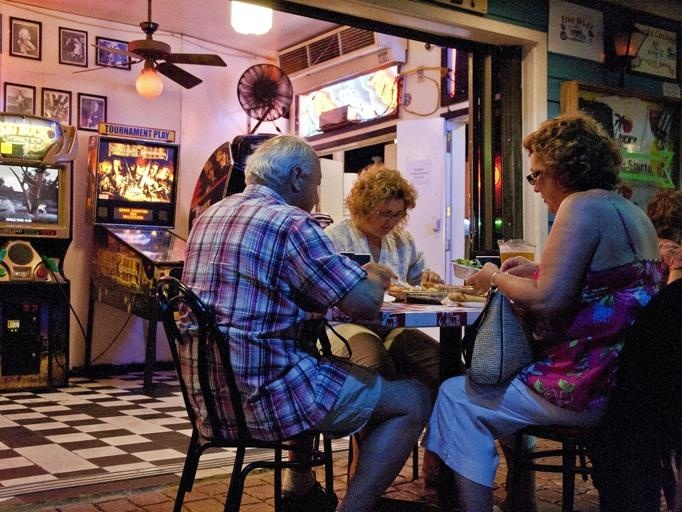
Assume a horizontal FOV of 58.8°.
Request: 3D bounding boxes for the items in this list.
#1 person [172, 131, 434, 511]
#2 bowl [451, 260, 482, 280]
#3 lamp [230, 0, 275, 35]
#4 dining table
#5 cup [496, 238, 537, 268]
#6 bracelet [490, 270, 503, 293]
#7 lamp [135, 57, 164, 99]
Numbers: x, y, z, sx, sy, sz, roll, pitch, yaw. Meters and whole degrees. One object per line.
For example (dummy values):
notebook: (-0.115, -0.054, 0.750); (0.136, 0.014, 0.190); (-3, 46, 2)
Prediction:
person: (-0.126, 0.240, 2.355); (0.944, 1.451, 0.375); (1, 0, -15)
bowl: (0.582, 0.065, 2.853); (0.114, 0.044, 0.111); (2, -6, 0)
lamp: (-0.821, -2.235, 5.610); (0.349, 0.184, 0.288); (1, 0, -16)
dining table: (0.331, 0.625, 2.870); (1.073, 0.979, 1.082); (-4, -7, 34)
cup: (0.880, -0.023, 3.066); (0.178, 0.157, 0.138); (12, -14, -43)
bracelet: (0.620, 0.103, 2.464); (0.025, 0.079, 0.064); (-1, 38, 7)
lamp: (-1.865, -1.742, 5.912); (0.207, 0.342, 0.274); (1, 0, -1)
